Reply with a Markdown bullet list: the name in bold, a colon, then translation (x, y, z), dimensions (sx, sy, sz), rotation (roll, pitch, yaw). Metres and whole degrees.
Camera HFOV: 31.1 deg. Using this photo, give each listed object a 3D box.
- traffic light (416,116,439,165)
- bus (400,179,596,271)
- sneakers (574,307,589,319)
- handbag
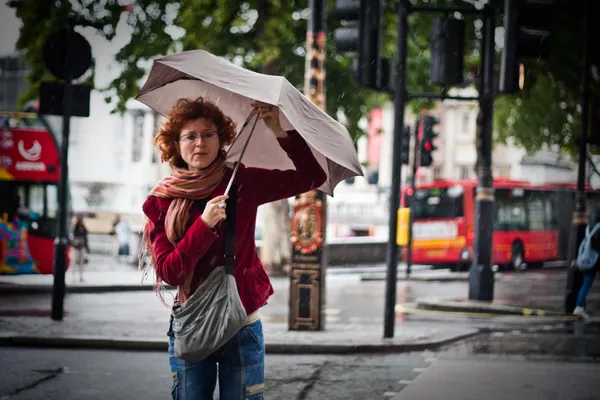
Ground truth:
- **traffic light**: translation (3.436, -1.583, 28.950), dimensions (0.496, 1.497, 1.169), rotation (1, 11, 8)
- **bus**: translation (4.959, 0.689, 29.277), dimensions (1.584, 1.694, 5.339), rotation (0, 0, 36)
- **sneakers**: translation (5.195, 2.118, 19.980), dimensions (0.260, 0.186, 0.165), rotation (2, 12, 11)
- **handbag**: translation (-1.271, 1.594, 14.801), dimensions (0.892, 0.899, 0.358), rotation (-36, -13, 11)
